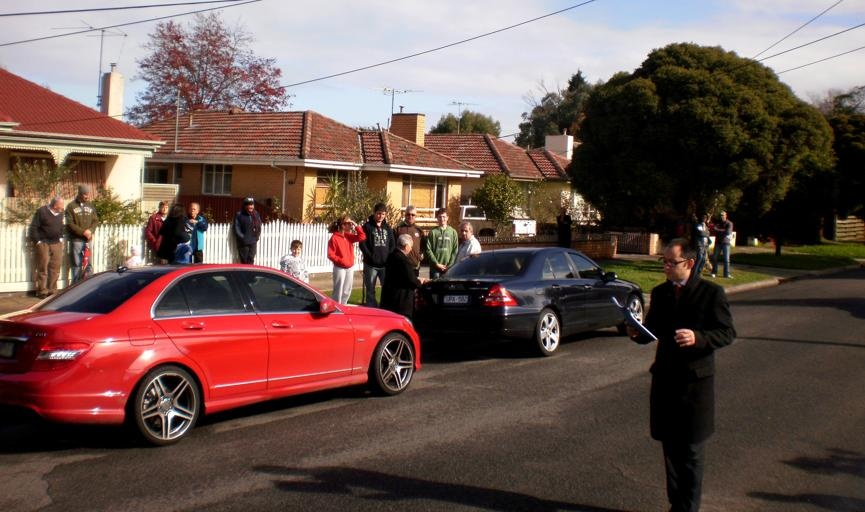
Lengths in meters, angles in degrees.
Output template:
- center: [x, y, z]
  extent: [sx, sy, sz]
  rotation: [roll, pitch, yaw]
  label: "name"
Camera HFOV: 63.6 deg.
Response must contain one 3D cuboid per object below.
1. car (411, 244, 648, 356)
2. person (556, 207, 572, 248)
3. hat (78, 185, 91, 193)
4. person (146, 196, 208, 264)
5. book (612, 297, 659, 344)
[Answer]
- center: [2.251, 0.579, 14.603]
  extent: [4.661, 1.558, 2.099]
  rotation: [-4, 1, -43]
  label: "car"
- center: [5.407, -1.153, 28.635]
  extent: [0.549, 1.562, 2.310]
  rotation: [4, 12, 10]
  label: "person"
- center: [-8.227, -1.659, 16.513]
  extent: [0.215, 0.169, 0.221]
  rotation: [0, -5, 8]
  label: "hat"
- center: [-5.972, -0.456, 16.276]
  extent: [1.128, 1.584, 1.832]
  rotation: [-1, 13, -14]
  label: "person"
- center: [2.424, 0.701, 8.256]
  extent: [0.470, 0.426, 0.928]
  rotation: [5, 13, 17]
  label: "book"
